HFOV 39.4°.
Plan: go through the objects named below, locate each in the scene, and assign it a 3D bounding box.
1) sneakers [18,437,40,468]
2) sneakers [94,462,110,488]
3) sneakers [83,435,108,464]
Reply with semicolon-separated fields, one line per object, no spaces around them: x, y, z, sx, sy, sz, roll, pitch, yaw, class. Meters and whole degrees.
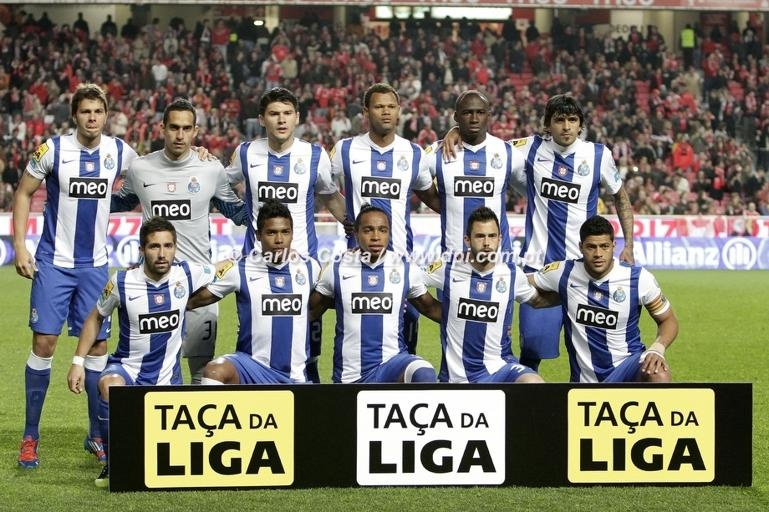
-3.646;2.006;10.944;0.141;0.173;0.370;1;12;-19;sneakers
-2.822;2.156;10.610;0.110;0.227;0.240;-1;-1;-28;sneakers
-2.983;1.983;11.026;0.162;0.318;0.108;-48;-6;34;sneakers
